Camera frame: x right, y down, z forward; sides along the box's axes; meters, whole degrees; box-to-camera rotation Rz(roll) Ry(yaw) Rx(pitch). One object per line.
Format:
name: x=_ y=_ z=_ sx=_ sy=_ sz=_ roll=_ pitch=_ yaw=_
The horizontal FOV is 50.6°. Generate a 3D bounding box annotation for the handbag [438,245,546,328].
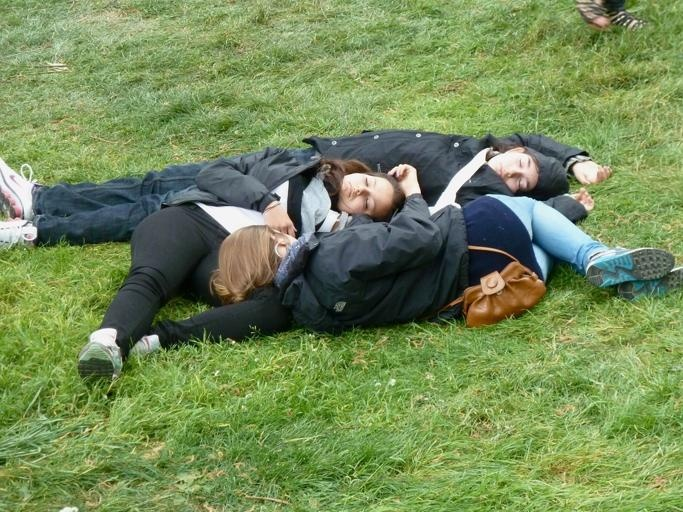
handbag: x=1.049 y=0.173 z=4.427 sx=0.577 sy=0.288 sz=0.718 roll=-30 pitch=11 yaw=25

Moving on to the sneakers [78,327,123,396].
sneakers: x=-1.224 y=0.530 z=3.750 sx=0.173 sy=0.306 sz=0.156 roll=3 pitch=39 yaw=-6

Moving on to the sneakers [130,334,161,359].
sneakers: x=-1.068 y=0.497 z=3.941 sx=0.081 sy=0.094 sz=0.201 roll=7 pitch=17 yaw=26
